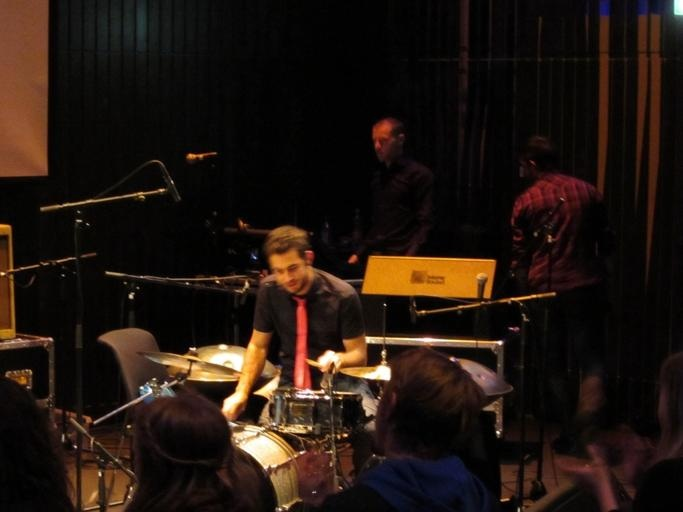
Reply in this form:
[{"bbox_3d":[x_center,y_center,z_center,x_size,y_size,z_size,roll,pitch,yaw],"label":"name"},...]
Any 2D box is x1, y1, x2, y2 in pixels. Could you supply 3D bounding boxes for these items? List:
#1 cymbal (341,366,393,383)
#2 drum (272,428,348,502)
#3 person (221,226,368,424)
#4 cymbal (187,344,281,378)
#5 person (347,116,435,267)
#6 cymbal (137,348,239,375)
[{"bbox_3d":[0.140,0.647,4.442,0.237,0.044,0.230,-3,3,0],"label":"cymbal"},{"bbox_3d":[-0.179,1.061,4.074,0.277,0.434,0.244,17,-49,-34],"label":"drum"},{"bbox_3d":[-0.325,0.481,4.837,0.908,1.274,0.802,0,4,-14],"label":"person"},{"bbox_3d":[-0.712,0.632,5.016,0.289,0.090,0.301,16,4,20],"label":"cymbal"},{"bbox_3d":[0.425,-0.517,6.447,0.659,1.155,0.466,0,1,16],"label":"person"},{"bbox_3d":[-0.853,0.614,4.571,0.250,0.069,0.272,14,-10,47],"label":"cymbal"}]
